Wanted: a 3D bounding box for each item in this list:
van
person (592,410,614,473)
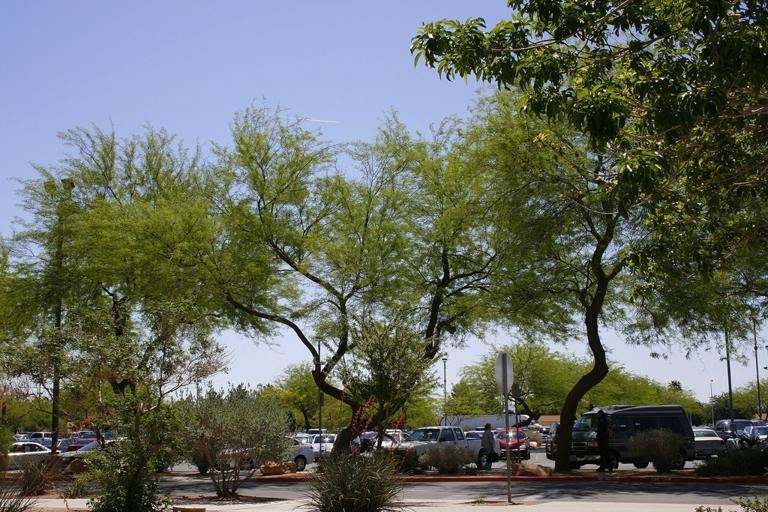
[{"bbox_3d":[10.402,7.205,32.239,4.334,2.477,2.864,4,-15,-10],"label":"van"},{"bbox_3d":[8.915,7.391,31.530,0.586,2.423,1.185,-3,-15,13],"label":"person"}]
